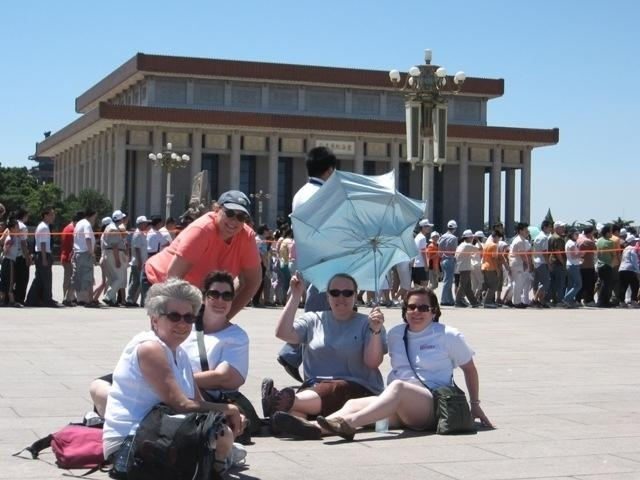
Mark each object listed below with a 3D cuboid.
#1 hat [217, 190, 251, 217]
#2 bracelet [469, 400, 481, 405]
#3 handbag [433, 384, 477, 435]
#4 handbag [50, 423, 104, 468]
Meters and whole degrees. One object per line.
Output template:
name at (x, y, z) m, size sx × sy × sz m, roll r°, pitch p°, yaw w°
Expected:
hat at (-0.929, -0.401, 12.634) m, size 0.224 × 0.183 × 0.309 m, roll 17°, pitch -7°, yaw -21°
bracelet at (1.685, 1.762, 12.904) m, size 0.082 × 0.039 × 0.064 m, roll 3°, pitch -1°, yaw -6°
handbag at (1.415, 1.817, 12.651) m, size 0.374 × 0.415 × 0.206 m, roll 6°, pitch -26°, yaw -26°
handbag at (-2.354, 2.025, 11.556) m, size 0.486 × 0.376 × 0.349 m, roll 1°, pitch -4°, yaw -15°
